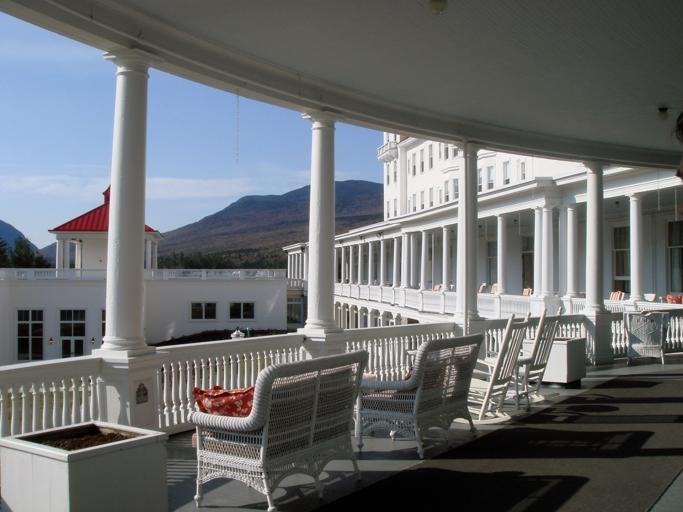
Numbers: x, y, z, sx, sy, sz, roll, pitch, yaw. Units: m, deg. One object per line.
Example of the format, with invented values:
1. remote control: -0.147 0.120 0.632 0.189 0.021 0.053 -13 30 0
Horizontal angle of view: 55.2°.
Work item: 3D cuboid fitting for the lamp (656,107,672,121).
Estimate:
1. lamp: 5.318 -2.317 10.717 0.186 0.183 0.189 1 4 1
